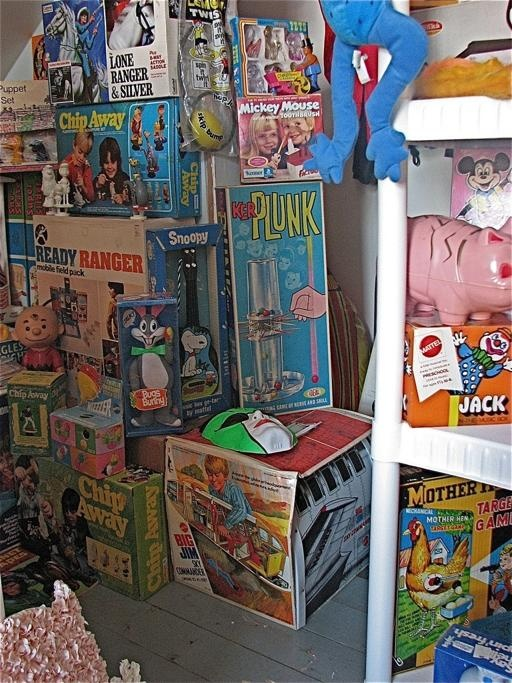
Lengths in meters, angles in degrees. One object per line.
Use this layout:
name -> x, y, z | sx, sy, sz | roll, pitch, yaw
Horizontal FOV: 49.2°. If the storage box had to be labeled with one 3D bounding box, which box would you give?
storage box -> -0.163, 0.185, 1.353 | 0.868, 0.852, 0.441 | 2, 9, 12
